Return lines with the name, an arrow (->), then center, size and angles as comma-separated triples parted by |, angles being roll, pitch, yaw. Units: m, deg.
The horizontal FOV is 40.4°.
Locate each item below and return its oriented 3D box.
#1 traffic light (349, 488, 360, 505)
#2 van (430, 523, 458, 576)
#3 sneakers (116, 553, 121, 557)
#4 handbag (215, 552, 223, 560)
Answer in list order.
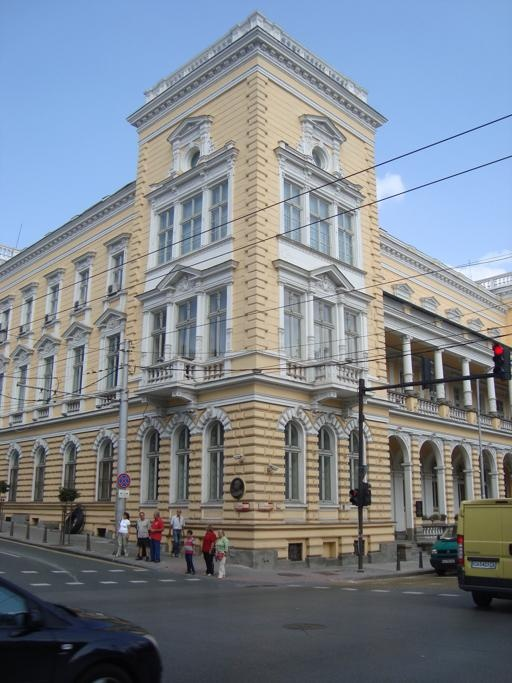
traffic light -> 3.372, 5.424, 24.100 | 0.255, 0.532, 0.534 | -1, -20, 0
van -> 6.587, 7.509, 24.887 | 1.285, 1.032, 2.234 | -1, -6, 13
sneakers -> -4.980, 7.786, 25.371 | 0.152, 0.134, 0.185 | 0, -15, -9
handbag -> -1.068, 6.518, 21.083 | 0.215, 0.230, 0.093 | -11, -38, 20
